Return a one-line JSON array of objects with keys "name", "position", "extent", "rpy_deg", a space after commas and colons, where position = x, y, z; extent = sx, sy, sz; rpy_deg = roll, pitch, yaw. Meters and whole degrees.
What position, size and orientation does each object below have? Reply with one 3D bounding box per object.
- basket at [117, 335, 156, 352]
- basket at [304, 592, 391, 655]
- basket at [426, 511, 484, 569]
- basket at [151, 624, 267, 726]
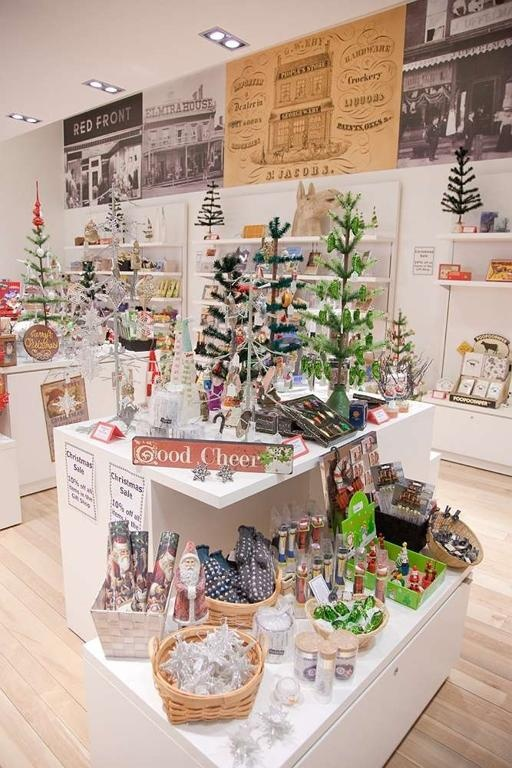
[{"name": "basket", "position": [-0.954, -0.316, 3.940], "extent": [0.255, 0.112, 0.279], "rpy_deg": [3, 10, 10]}, {"name": "basket", "position": [0.251, 0.634, 1.365], "extent": [0.140, 0.053, 0.139], "rpy_deg": [3, -3, -11]}, {"name": "basket", "position": [0.710, 0.547, 1.818], "extent": [0.174, 0.165, 0.236], "rpy_deg": [5, 10, 25]}, {"name": "basket", "position": [-0.104, 0.587, 1.082], "extent": [0.211, 0.120, 0.247], "rpy_deg": [-1, 10, -10]}]
